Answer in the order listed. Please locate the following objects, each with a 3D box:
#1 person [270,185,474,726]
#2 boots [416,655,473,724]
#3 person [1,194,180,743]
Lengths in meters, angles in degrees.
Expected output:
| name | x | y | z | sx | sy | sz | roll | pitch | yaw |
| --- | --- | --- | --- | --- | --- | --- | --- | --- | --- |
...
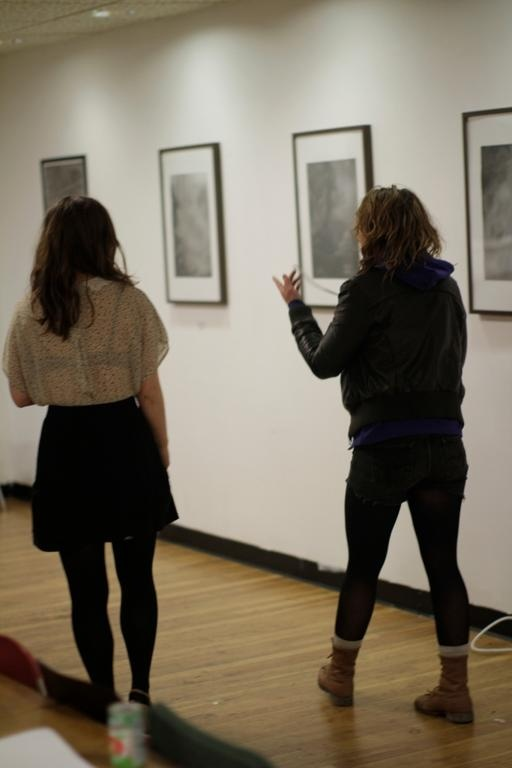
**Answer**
| name | x | y | z | sx | sy | sz | roll | pitch | yaw |
| --- | --- | --- | --- | --- | --- | --- | --- | --- | --- |
| person | 0.380 | 0.207 | 2.007 | 0.431 | 1.522 | 0.259 | -1 | -1 | 14 |
| boots | 0.538 | 0.881 | 2.060 | 0.085 | 0.174 | 0.185 | 20 | -25 | -40 |
| person | -0.412 | 0.172 | 1.784 | 0.426 | 1.252 | 0.228 | 0 | -1 | -20 |
